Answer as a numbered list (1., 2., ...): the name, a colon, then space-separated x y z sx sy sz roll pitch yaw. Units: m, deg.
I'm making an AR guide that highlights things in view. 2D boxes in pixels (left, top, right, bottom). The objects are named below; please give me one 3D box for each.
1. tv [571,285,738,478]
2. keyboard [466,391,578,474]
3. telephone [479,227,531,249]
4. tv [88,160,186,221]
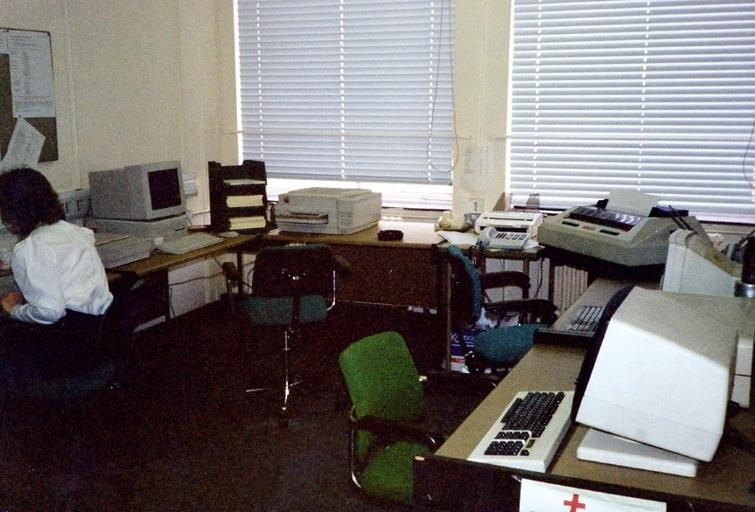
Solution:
1. tv: 1.066 0.467 2.555 0.634 0.608 0.792 2 8 24
2. keyboard: 0.582 0.685 2.487 0.253 0.071 0.480 5 22 26
3. telephone: 0.923 -0.120 4.600 0.229 0.078 0.235 2 15 24
4. tv: -1.850 -0.501 4.812 0.564 0.370 0.531 3 10 19
